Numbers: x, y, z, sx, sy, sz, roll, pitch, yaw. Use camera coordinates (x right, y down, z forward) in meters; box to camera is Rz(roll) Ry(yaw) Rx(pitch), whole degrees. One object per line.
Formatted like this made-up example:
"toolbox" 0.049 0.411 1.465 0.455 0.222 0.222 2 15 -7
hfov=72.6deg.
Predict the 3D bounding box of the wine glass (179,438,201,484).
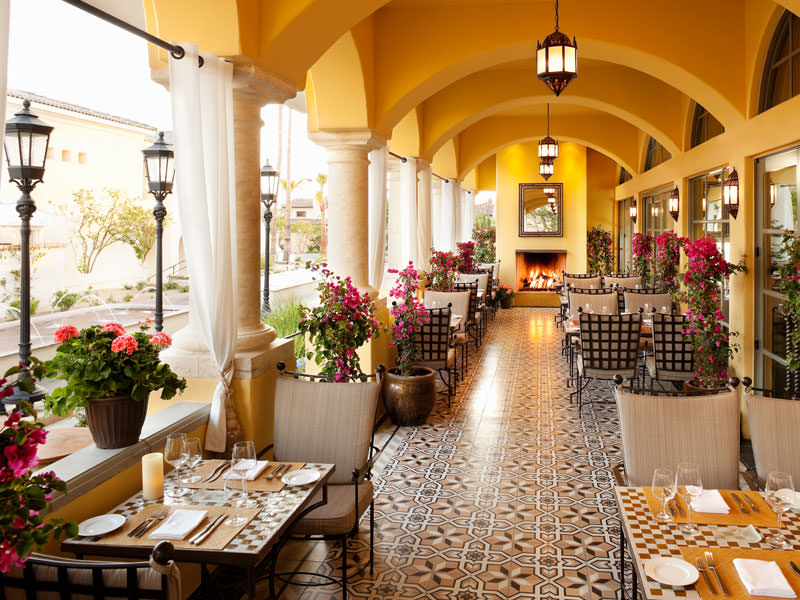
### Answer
"wine glass" -1.122 0.852 2.916 0.131 0.234 0.116 2 3 -17

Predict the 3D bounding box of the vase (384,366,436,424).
"vase" 0.104 1.169 6.723 0.741 0.640 0.731 -1 8 -9

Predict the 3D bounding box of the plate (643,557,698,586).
"plate" 1.105 1.103 2.211 0.205 0.029 0.189 -5 5 -40

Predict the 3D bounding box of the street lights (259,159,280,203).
"street lights" -1.910 -1.733 7.841 0.221 0.662 0.646 -3 4 -15

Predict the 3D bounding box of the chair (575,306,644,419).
"chair" 2.855 0.766 7.409 0.849 1.537 0.930 -3 17 9

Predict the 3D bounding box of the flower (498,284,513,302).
"flower" 3.271 -0.280 16.833 0.457 0.394 0.458 0 1 -3

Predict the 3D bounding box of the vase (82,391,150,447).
"vase" -1.711 0.719 3.295 0.378 0.278 0.363 0 -7 -39

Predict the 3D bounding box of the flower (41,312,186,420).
"flower" -1.741 0.375 3.336 0.700 0.443 0.661 -3 11 -34

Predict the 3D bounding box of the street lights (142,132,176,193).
"street lights" -2.811 -1.628 6.292 0.310 0.855 1.224 -4 4 -24

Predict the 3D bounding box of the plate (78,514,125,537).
"plate" -1.448 1.082 2.622 0.204 0.030 0.215 -5 4 -33

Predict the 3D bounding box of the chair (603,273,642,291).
"chair" 4.649 -0.401 11.277 0.566 0.277 0.605 4 11 14

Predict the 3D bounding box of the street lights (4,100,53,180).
"street lights" -3.323 -1.405 4.831 0.354 0.780 0.374 -5 5 -35
